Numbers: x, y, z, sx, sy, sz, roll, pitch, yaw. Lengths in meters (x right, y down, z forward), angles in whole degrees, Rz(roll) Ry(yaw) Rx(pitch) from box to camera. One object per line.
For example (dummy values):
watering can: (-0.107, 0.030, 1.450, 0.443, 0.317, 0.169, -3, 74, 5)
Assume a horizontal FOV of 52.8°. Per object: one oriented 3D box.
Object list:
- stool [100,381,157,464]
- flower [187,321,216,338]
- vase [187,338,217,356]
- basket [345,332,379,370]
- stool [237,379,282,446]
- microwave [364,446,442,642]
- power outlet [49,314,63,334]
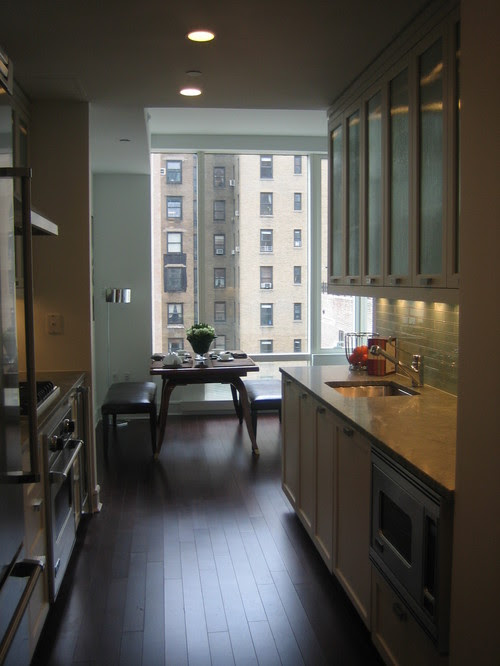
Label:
stool: (-1.149, 0.793, 4.865, 0.416, 0.535, 0.962, -1, 4, -12)
flower: (-0.445, -0.031, 4.692, 0.148, 0.137, 0.167, 3, 6, -1)
vase: (-0.437, 0.127, 4.737, 0.174, 0.177, 0.180, 7, 12, 35)
basket: (0.726, 0.118, 3.248, 0.210, 0.321, 0.233, 1, 4, 22)
stool: (0.103, 0.612, 4.816, 0.358, 0.401, 0.699, -2, 16, -8)
microwave: (0.424, 0.555, 1.357, 0.179, 0.314, 0.374, 1, 5, -3)
power outlet: (-1.178, -0.060, 3.044, 0.084, 0.166, 0.018, 0, 2, -15)
